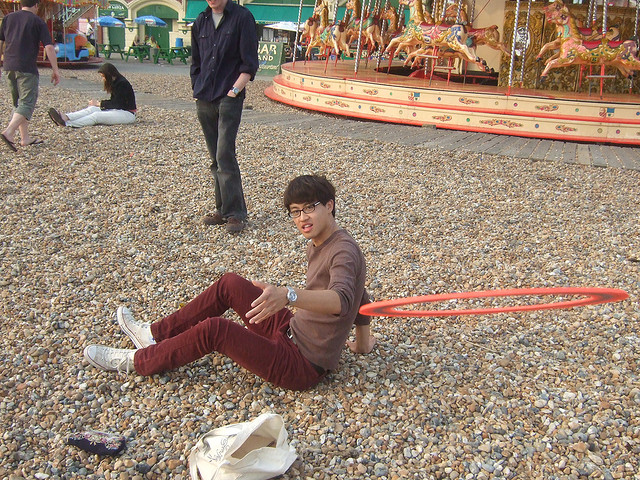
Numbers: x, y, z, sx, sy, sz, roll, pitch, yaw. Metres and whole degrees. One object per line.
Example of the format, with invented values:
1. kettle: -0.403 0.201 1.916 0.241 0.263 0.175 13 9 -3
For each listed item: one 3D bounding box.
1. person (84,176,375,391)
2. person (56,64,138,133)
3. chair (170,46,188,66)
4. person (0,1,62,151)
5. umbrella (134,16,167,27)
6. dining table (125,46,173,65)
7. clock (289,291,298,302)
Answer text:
1. person: -0.545 0.336 2.943 1.611 1.037 1.080 5 20 3
2. person: -3.839 -2.450 8.902 1.403 1.037 0.615 -12 18 -29
3. chair: -7.167 -9.378 26.481 0.781 0.850 3.923 -2 17 -14
4. person: -3.994 -2.273 7.191 0.654 1.946 0.940 -6 19 -25
5. umbrella: -10.238 -13.286 31.441 1.115 0.453 1.454 12 20 30
6. dining table: -8.420 -9.101 25.604 1.572 0.762 3.926 -5 18 -23
7. clock: -0.124 0.261 2.390 0.046 0.039 0.030 -10 46 -38
